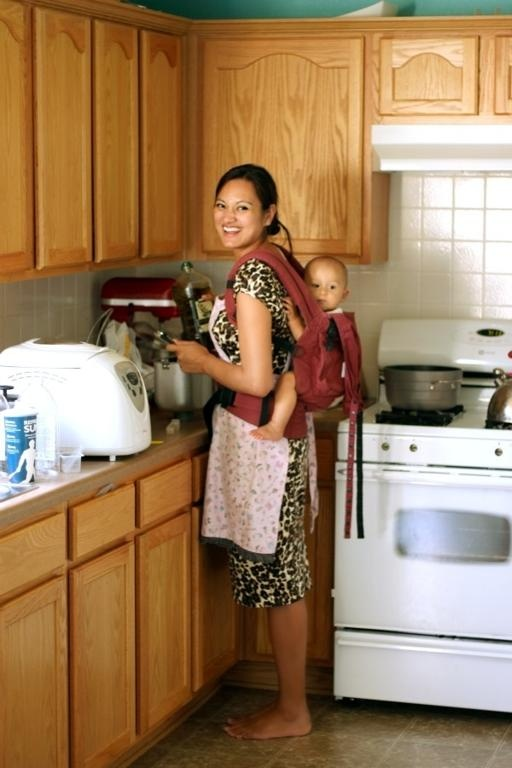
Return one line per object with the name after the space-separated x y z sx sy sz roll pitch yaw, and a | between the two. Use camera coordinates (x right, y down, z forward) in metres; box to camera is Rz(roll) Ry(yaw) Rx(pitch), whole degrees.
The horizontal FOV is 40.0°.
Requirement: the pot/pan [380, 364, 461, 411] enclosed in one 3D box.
0.525 0.015 2.215 0.175 0.080 0.189 -1 1 -8 | pot/pan

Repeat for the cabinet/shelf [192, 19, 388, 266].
0.072 -0.903 2.664 0.553 0.869 0.683 -9 16 -20 | cabinet/shelf
